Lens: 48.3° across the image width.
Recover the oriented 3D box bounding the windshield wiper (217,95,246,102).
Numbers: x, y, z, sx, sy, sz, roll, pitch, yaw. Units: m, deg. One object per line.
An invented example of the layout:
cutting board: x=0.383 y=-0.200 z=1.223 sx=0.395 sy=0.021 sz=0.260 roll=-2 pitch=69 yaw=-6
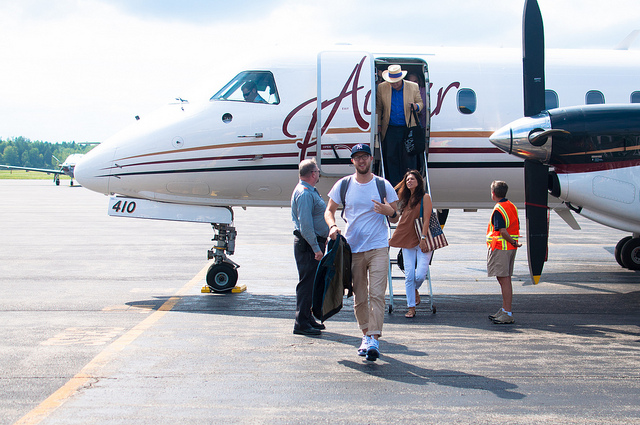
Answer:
windshield wiper: x=-1.698 y=-2.178 z=13.718 sx=0.547 sy=0.080 sz=0.053 roll=0 pitch=14 yaw=3

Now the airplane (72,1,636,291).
airplane: x=0.759 y=-1.450 z=13.387 sx=7.195 sy=2.522 sz=7.515 roll=0 pitch=3 yaw=-6

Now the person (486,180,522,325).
person: x=3.127 y=0.697 z=12.241 sx=0.544 sy=2.410 sz=0.609 roll=3 pitch=15 yaw=14

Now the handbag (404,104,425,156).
handbag: x=1.781 y=-1.573 z=13.505 sx=0.370 sy=0.968 sz=0.187 roll=0 pitch=15 yaw=2

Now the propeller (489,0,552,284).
propeller: x=3.666 y=-1.256 z=12.642 sx=0.909 sy=4.879 sz=1.352 roll=2 pitch=15 yaw=9

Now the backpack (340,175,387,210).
backpack: x=0.668 y=-0.357 z=10.944 sx=0.638 sy=0.518 sz=0.390 roll=7 pitch=1 yaw=7

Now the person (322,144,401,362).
person: x=0.562 y=0.592 z=10.830 sx=1.102 sy=3.185 sz=1.039 roll=3 pitch=15 yaw=12

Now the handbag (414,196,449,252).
handbag: x=1.983 y=0.178 z=12.453 sx=0.506 sy=0.936 sz=0.628 roll=9 pitch=17 yaw=32
